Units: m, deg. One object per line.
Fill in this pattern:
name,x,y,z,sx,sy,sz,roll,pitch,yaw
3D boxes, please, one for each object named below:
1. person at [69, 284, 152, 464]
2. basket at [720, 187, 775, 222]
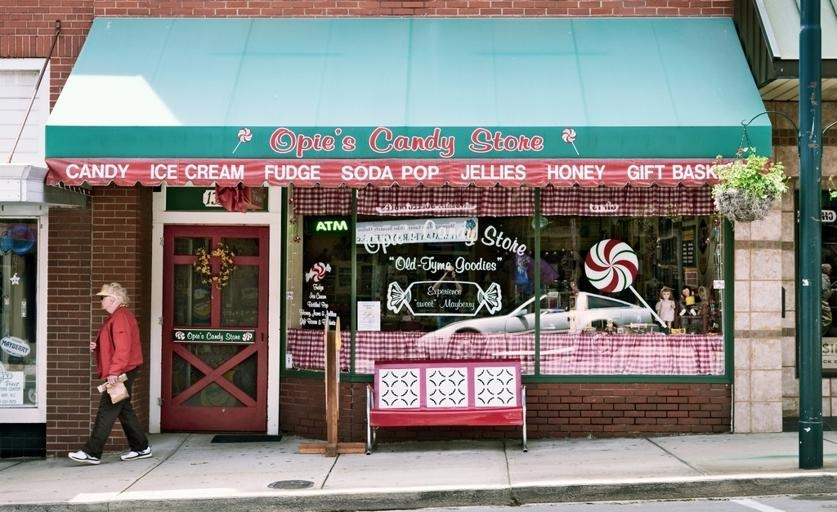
person,-4.650,1.784,18.145,1.033,2.761,0.475,-1,-6,-13
basket,4.739,-0.726,17.332,0.568,0.303,0.546,0,-4,-6
